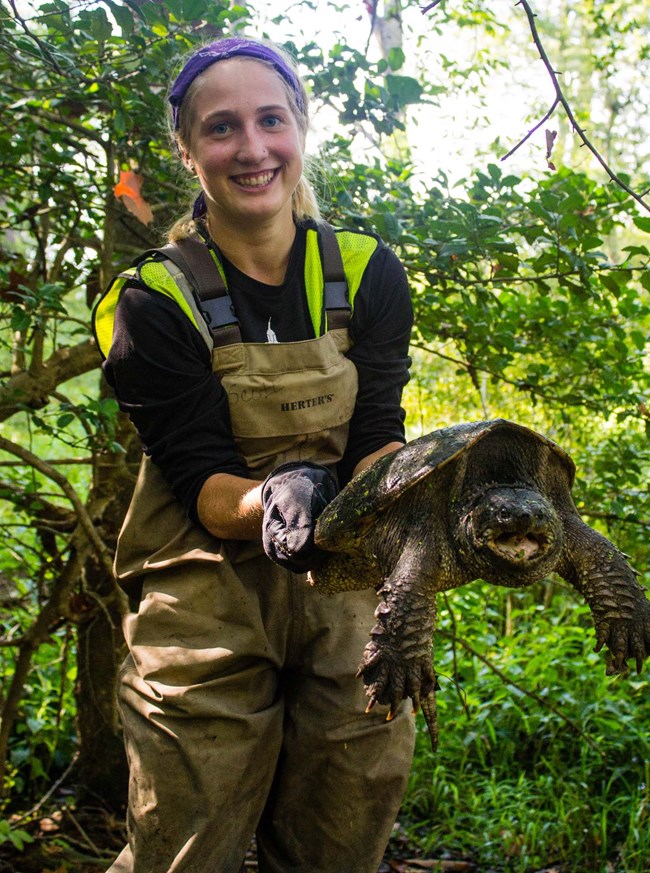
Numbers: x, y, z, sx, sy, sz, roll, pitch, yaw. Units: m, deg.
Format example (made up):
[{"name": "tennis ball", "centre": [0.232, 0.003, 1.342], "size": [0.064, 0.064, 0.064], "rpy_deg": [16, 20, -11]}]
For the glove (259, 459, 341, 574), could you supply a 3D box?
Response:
[{"name": "glove", "centre": [-0.070, 0.151, 1.684], "size": [0.103, 0.197, 0.168], "rpy_deg": [16, -33, -37]}]
